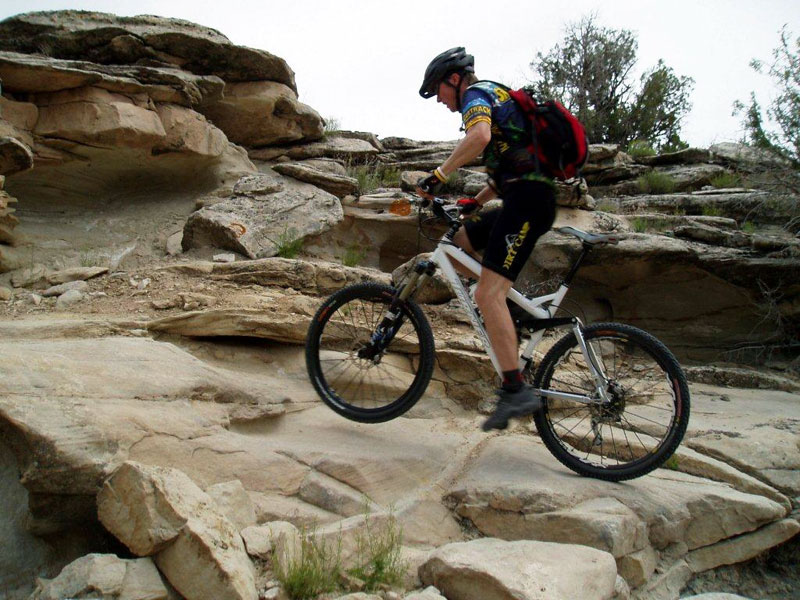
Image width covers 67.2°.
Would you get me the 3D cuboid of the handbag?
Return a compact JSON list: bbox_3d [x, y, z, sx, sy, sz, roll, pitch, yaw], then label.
[{"bbox_3d":[0.932,-1.336,5.027,0.859,0.752,0.966,1,15,43],"label":"handbag"}]
